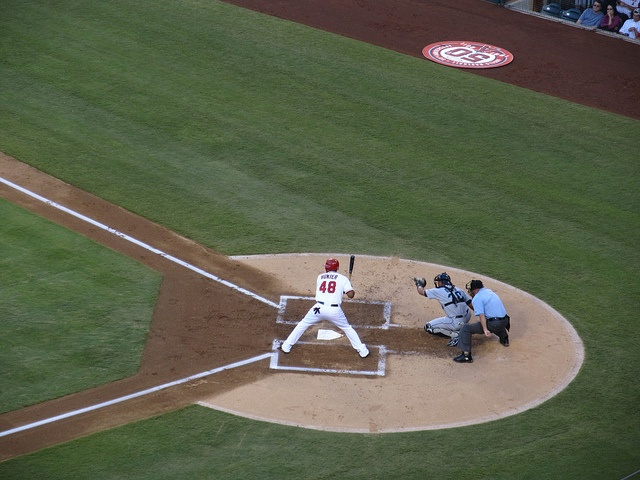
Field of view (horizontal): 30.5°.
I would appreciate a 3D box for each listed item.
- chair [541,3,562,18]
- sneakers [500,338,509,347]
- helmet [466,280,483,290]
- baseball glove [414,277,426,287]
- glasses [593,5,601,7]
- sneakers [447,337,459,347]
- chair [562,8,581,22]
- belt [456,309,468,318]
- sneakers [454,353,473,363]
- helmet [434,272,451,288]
[{"bbox_3d":[7.083,-6.964,35.690,0.572,0.292,0.596,5,53,3],"label":"chair"},{"bbox_3d":[3.990,2.212,25.306,0.118,0.091,0.265,-2,20,-3],"label":"sneakers"},{"bbox_3d":[3.314,0.957,25.168,0.323,0.202,0.200,17,57,17],"label":"helmet"},{"bbox_3d":[2.175,0.922,25.470,0.261,0.182,0.174,7,79,-22],"label":"baseball glove"},{"bbox_3d":[8.168,-6.907,34.614,0.125,0.138,0.108,23,102,25],"label":"glasses"},{"bbox_3d":[2.908,2.209,25.418,0.324,0.108,0.114,-29,93,12],"label":"sneakers"},{"bbox_3d":[7.620,-6.791,35.498,0.495,0.186,0.583,16,29,19],"label":"chair"},{"bbox_3d":[3.069,1.585,25.212,0.256,0.171,0.072,-18,87,2],"label":"belt"},{"bbox_3d":[3.074,2.536,25.055,0.498,0.273,0.134,6,60,7],"label":"sneakers"},{"bbox_3d":[2.662,0.874,25.324,0.340,0.372,0.352,-7,57,-5],"label":"helmet"}]
